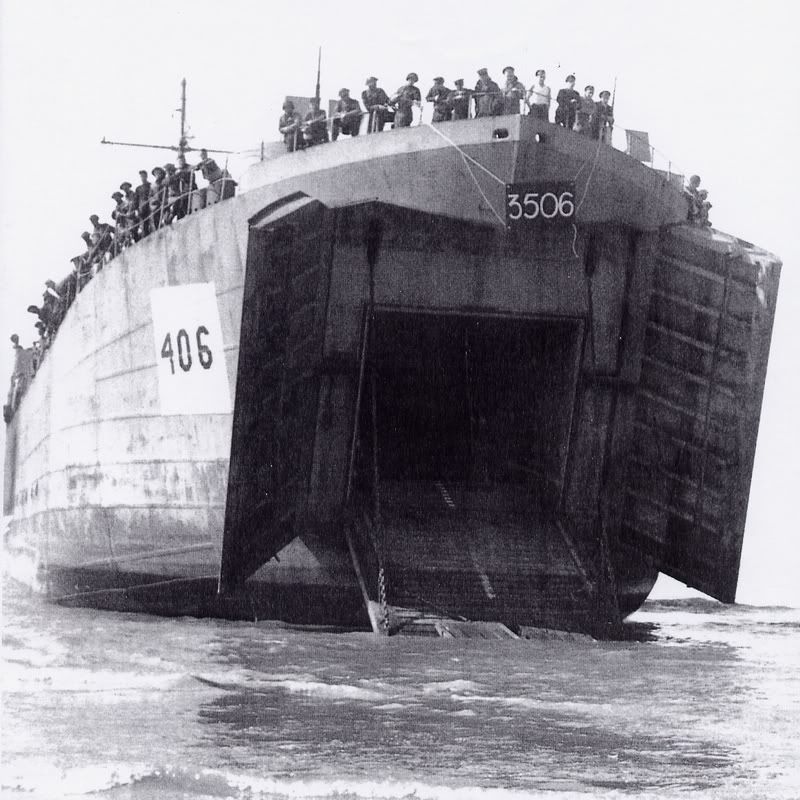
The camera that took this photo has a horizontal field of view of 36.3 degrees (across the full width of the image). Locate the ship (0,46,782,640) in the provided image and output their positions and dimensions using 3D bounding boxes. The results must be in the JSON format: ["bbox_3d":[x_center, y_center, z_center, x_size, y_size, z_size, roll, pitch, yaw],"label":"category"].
[{"bbox_3d":[-0.033,-0.814,17.768,10.108,8.178,6.810,1,1,-6],"label":"ship"}]
